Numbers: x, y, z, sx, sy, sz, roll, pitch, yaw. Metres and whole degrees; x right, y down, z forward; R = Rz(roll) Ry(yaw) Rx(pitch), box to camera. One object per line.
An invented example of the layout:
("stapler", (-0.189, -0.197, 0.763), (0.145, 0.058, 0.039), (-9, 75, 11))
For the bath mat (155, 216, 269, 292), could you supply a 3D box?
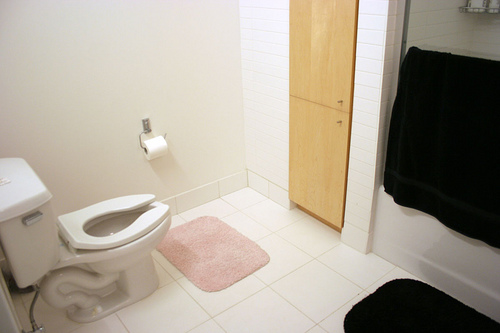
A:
("bath mat", (-0.328, 0.668, 2.707), (0.879, 0.083, 0.586), (27, 52, 37))
